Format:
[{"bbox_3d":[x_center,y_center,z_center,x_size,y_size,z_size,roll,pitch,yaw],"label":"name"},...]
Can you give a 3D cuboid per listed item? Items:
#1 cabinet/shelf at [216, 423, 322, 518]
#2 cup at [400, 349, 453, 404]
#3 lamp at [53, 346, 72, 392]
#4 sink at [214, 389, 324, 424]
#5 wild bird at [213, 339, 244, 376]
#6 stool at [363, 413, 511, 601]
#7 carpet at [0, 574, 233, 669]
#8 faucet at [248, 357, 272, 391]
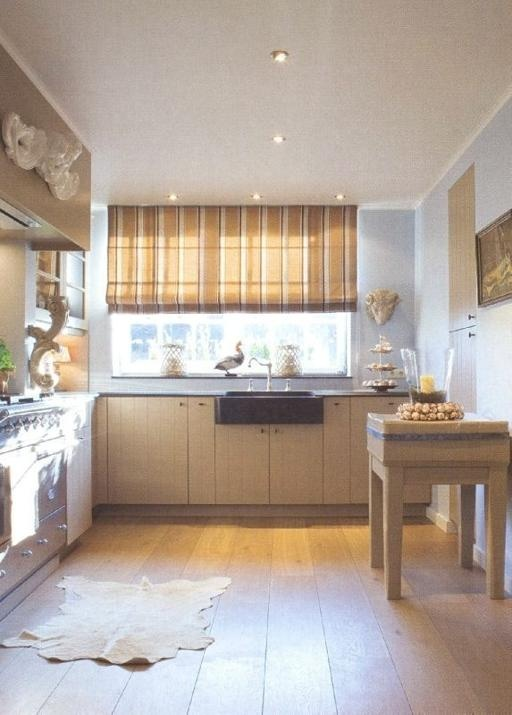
[{"bbox_3d":[0.097,0.624,3.758,0.813,0.602,0.471,0,-6,1],"label":"cabinet/shelf"},{"bbox_3d":[0.841,0.113,2.594,0.280,0.294,0.281,1,-9,0],"label":"cup"},{"bbox_3d":[-1.329,0.072,3.788,0.100,0.305,0.233,-2,1,-14],"label":"lamp"},{"bbox_3d":[0.087,0.346,3.666,0.706,0.179,0.348,-2,1,15],"label":"sink"},{"bbox_3d":[-0.210,0.008,4.174,0.204,0.221,0.321,-2,1,-4],"label":"wild bird"},{"bbox_3d":[0.814,0.636,2.493,0.580,0.554,0.558,-2,1,6],"label":"stool"},{"bbox_3d":[-0.506,0.987,2.119,0.730,0.060,0.754,-2,1,2],"label":"carpet"},{"bbox_3d":[0.033,0.121,4.114,0.177,0.208,0.480,-2,1,-1],"label":"faucet"}]
